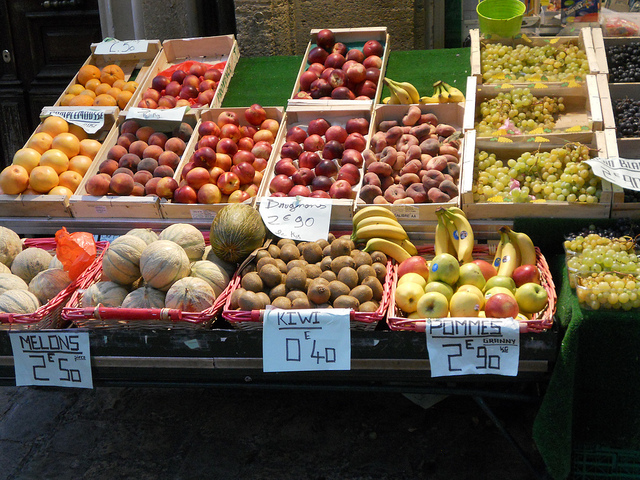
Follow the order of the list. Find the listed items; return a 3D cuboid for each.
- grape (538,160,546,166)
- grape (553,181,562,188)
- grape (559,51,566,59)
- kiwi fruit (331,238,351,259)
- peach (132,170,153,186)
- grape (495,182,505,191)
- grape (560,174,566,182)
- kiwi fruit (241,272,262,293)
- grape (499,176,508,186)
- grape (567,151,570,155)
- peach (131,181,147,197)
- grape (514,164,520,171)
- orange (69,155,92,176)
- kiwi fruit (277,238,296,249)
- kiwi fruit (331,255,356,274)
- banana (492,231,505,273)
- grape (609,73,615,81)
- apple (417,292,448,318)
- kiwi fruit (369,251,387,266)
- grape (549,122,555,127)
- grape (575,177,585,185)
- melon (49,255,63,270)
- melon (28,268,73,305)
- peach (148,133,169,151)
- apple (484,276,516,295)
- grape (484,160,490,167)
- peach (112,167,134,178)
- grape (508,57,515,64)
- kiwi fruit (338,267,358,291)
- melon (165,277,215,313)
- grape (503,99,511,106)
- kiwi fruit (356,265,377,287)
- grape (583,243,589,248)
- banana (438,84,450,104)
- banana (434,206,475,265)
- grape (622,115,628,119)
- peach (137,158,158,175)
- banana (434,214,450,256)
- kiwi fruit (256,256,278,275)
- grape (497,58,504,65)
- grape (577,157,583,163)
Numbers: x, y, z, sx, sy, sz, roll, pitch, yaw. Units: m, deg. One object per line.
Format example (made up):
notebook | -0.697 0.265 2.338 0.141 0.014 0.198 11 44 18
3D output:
grape | 1.348 -0.470 3.100 0.039 0.034 0.018 10 27 26
grape | 1.380 -0.328 2.972 0.036 0.032 0.034 -19 43 36
grape | 1.776 -1.358 3.741 0.046 0.040 0.045 3 26 14
kiwi fruit | 0.113 0.044 2.804 0.076 0.089 0.101 -12 14 -37
peach | -1.197 -0.433 3.469 0.098 0.105 0.105 13 -14 29
grape | 1.071 -0.321 3.031 0.041 0.044 0.049 -35 -2 9
grape | 1.409 -0.368 2.975 0.030 0.041 0.032 -1 1 -29
kiwi fruit | -0.343 0.214 2.623 0.098 0.082 0.079 32 28 19
grape | 1.103 -0.361 3.059 0.043 0.043 0.050 -45 11 8
grape | 1.507 -0.534 3.098 0.012 0.016 0.019 4 26 15
peach | -1.207 -0.337 3.434 0.083 0.098 0.108 0 -25 -9
grape | 1.195 -0.446 3.102 0.032 0.033 0.019 -5 24 -4
orange | -1.703 -0.569 3.697 0.131 0.147 0.166 -9 41 -17
kiwi fruit | -0.194 0.017 2.869 0.052 0.042 0.068 2 3 42
kiwi fruit | 0.123 0.125 2.695 0.100 0.091 0.081 -5 -2 1
banana | 0.991 0.075 2.824 0.048 0.243 0.077 8 2 -1
grape | 2.045 -1.151 3.592 0.026 0.041 0.055 -1 26 4
apple | 0.546 0.316 2.473 0.143 0.104 0.090 2 25 12
kiwi fruit | 0.322 0.093 2.775 0.065 0.076 0.041 -10 -7 0
grape | 1.546 -0.779 3.407 0.032 0.027 0.044 -12 13 21
grape | 1.474 -0.336 2.898 0.034 0.046 0.036 -21 3 7
melon | -1.539 0.126 2.994 0.075 0.124 0.079 -4 -3 39
melon | -1.464 0.204 2.926 0.258 0.201 0.217 6 21 19
peach | -1.154 -0.727 3.754 0.113 0.157 0.126 15 13 8
apple | 0.900 0.200 2.568 0.115 0.113 0.102 3 0 34
grape | 1.035 -0.482 3.165 0.031 0.034 0.042 7 59 -9
peach | -1.338 -0.480 3.513 0.068 0.054 0.091 2 21 0
grape | 1.415 -1.328 3.767 0.036 0.030 0.031 -9 51 39
kiwi fruit | 0.154 0.202 2.691 0.093 0.130 0.101 -26 -19 22
melon | -0.653 0.260 2.687 0.205 0.174 0.278 -6 25 -9
grape | 1.279 -0.946 3.475 0.037 0.029 0.049 -12 28 0
kiwi fruit | 0.240 0.175 2.721 0.090 0.112 0.092 -26 41 -13
grape | 1.378 0.028 2.651 0.018 0.021 0.023 -7 19 37
banana | 0.892 -1.064 3.687 0.044 0.102 0.156 6 51 5
banana | 0.762 -0.061 2.895 0.188 0.365 0.152 -11 -13 30
grape | 1.946 -0.792 3.263 0.022 0.010 0.023 -23 15 44
peach | -1.182 -0.524 3.560 0.109 0.112 0.132 45 45 12
banana | 0.699 -0.011 2.927 0.081 0.280 0.067 -1 -3 35
kiwi fruit | -0.283 0.129 2.720 0.074 0.084 0.102 0 50 -2
grape | 1.336 -1.329 3.783 0.040 0.036 0.046 -21 31 -33
grape | 1.564 -0.487 3.073 0.028 0.017 0.029 -2 17 -13
